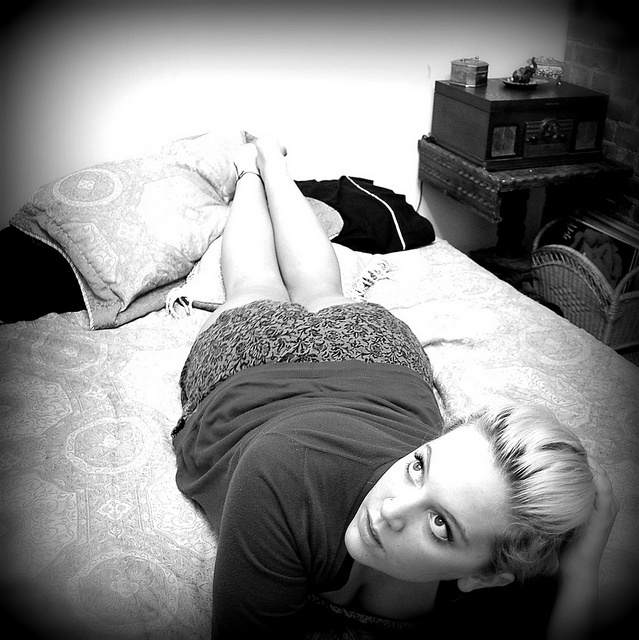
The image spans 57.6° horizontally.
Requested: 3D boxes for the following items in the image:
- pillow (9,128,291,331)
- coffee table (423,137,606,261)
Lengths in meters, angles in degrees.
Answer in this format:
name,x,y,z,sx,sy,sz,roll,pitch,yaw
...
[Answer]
name,x,y,z,sx,sy,sz,roll,pitch,yaw
pillow,-0.500,-0.394,1.891,0.650,0.262,0.949,33,44,19
coffee table,0.718,-0.586,2.349,0.453,0.376,0.517,-13,35,-20
